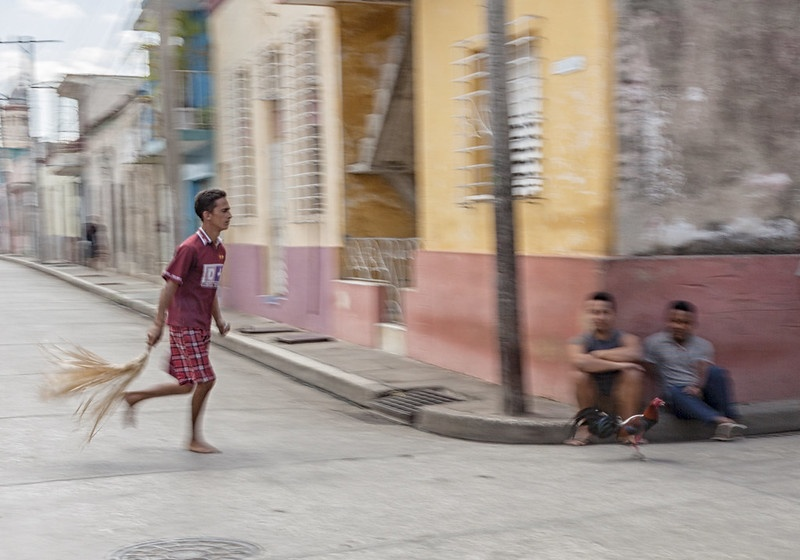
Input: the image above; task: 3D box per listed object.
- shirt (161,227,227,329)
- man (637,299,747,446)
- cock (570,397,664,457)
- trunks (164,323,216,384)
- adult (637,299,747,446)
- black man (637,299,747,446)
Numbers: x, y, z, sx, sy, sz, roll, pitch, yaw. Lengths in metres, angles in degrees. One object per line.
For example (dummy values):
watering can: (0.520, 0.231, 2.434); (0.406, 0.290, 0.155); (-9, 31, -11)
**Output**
shirt: (-1.793, -0.013, 7.555); (0.287, 0.888, 0.556); (4, 2, 40)
man: (2.850, 0.867, 8.482); (0.967, 1.323, 0.420); (2, 1, 8)
cock: (1.943, 1.300, 7.923); (0.652, 0.527, 0.591); (1, 1, -2)
trunks: (-1.791, 0.646, 7.519); (0.396, 0.490, 0.167); (2, 2, -8)
adult: (2.850, 0.867, 8.482); (0.967, 1.323, 0.420); (2, 1, 8)
black man: (2.850, 0.867, 8.482); (0.967, 1.323, 0.420); (2, 1, 8)
